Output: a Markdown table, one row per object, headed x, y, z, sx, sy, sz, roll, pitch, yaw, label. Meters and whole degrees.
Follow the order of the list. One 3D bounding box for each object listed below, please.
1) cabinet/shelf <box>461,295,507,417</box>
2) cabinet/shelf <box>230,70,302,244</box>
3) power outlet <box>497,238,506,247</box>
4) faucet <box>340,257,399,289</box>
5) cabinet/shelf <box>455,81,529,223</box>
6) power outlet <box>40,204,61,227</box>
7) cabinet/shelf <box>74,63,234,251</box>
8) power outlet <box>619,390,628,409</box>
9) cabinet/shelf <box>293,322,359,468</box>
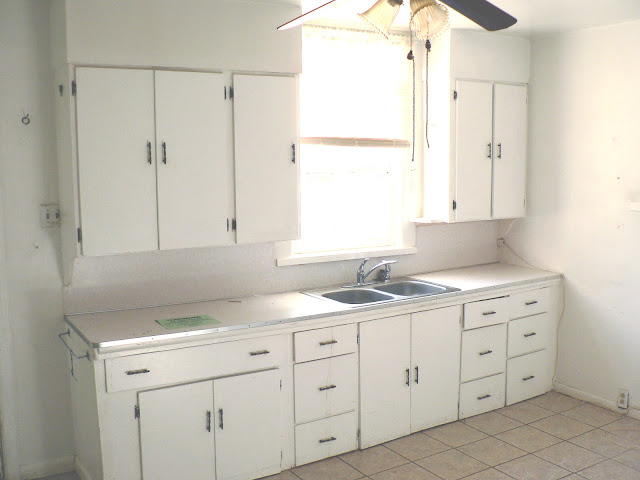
| x | y | z | sx | sy | sz | roll | pitch | yaw | label |
| --- | --- | --- | --- | --- | --- | --- | --- | --- | --- |
| 1.275 | 0.894 | 4.244 | 0.544 | 0.874 | 0.133 | -7 | 15 | -28 | cabinet/shelf |
| -0.369 | -0.538 | 3.668 | 0.430 | 1.076 | 0.219 | -3 | 13 | -13 | cabinet/shelf |
| 1.696 | 0.023 | 5.103 | 0.080 | 0.087 | 0.034 | 6 | 14 | 22 | power outlet |
| 0.428 | 0.250 | 4.368 | 0.279 | 0.130 | 0.275 | -4 | 4 | -35 | faucet |
| 1.361 | -0.776 | 4.701 | 0.795 | 1.172 | 0.418 | -3 | 5 | -21 | cabinet/shelf |
| -1.749 | -0.162 | 3.534 | 0.134 | 0.140 | 0.032 | -1 | 3 | -23 | power outlet |
| -1.074 | -0.536 | 3.388 | 1.101 | 1.373 | 0.513 | -2 | 4 | -28 | cabinet/shelf |
| 2.376 | 1.228 | 4.258 | 0.079 | 0.147 | 0.042 | 9 | 16 | 34 | power outlet |
| 0.038 | 1.013 | 3.660 | 0.488 | 0.868 | 0.131 | -6 | 14 | -23 | cabinet/shelf |
